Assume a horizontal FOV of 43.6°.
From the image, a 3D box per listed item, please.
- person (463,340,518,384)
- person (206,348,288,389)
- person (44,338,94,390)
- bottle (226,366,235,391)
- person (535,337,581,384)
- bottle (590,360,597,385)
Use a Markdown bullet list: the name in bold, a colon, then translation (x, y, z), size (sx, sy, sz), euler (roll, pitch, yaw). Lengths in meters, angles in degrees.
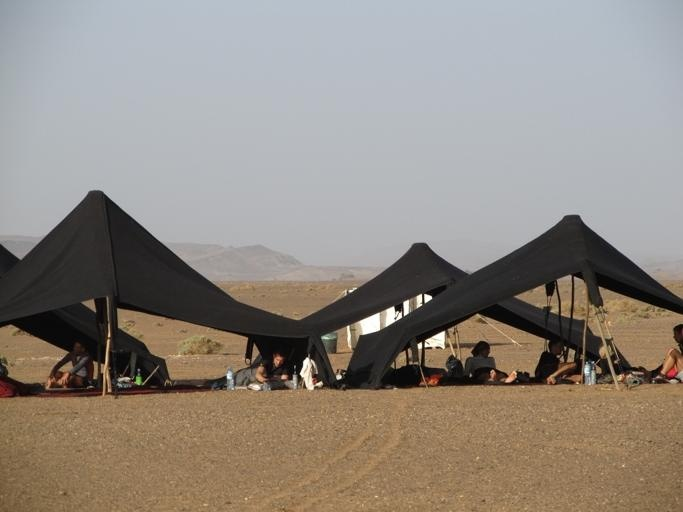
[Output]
- **person**: translation (2.860, 2.038, 16.363), size (0.815, 0.805, 1.377), euler (5, -3, -16)
- **person**: translation (-1.517, 2.162, 16.324), size (1.083, 0.712, 1.086), euler (0, -9, 10)
- **person**: translation (-5.083, 2.057, 15.949), size (0.804, 0.873, 0.733), euler (3, -9, -14)
- **bottle**: translation (-2.091, 2.314, 16.089), size (0.158, 0.420, 0.666), euler (3, -9, -8)
- **person**: translation (4.090, 2.002, 16.325), size (0.737, 0.810, 1.195), euler (-3, 0, 17)
- **bottle**: translation (4.569, 2.144, 15.663), size (0.199, 0.410, 0.396), euler (-1, -9, 16)
